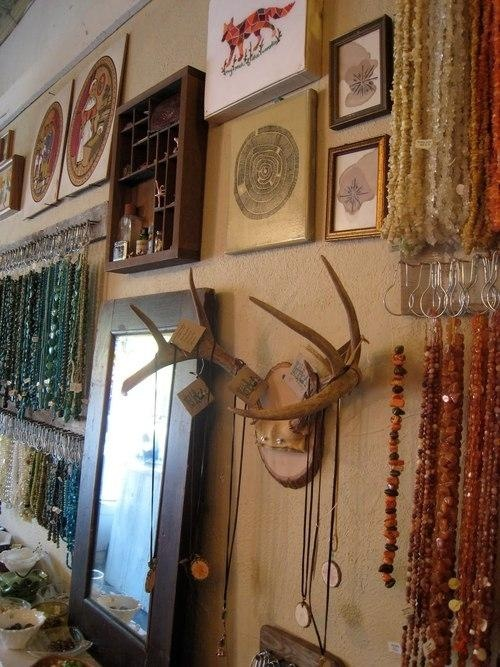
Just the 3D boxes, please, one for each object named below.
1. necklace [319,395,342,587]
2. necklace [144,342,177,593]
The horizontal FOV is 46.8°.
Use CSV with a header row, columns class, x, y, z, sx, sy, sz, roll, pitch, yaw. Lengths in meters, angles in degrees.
class,x,y,z,sx,sy,sz,roll,pitch,yaw
necklace,0.153,0.314,1.067,0.005,0.286,0.037,20,-26,-36
necklace,-0.226,0.337,1.376,0.051,0.566,0.210,5,-12,-8
